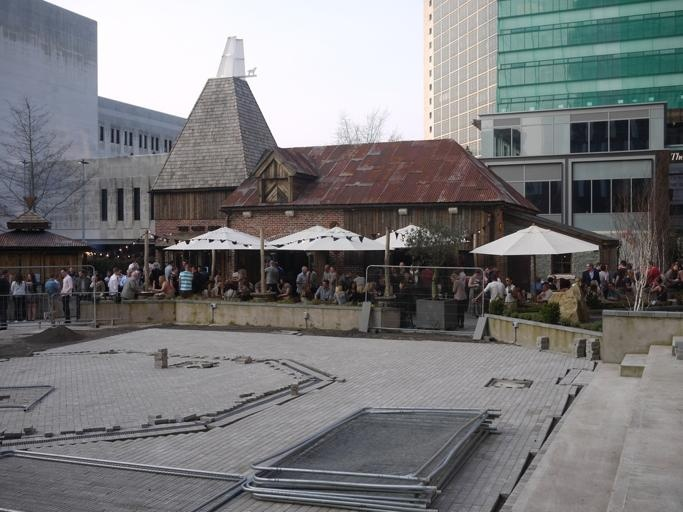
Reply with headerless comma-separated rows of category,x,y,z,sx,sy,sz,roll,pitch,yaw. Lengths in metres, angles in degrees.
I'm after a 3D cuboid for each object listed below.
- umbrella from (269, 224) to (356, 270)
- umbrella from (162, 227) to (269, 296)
umbrella,-1.052,-0.435,35.861,2.229,1.769,2.211,2,0,-43
umbrella,-5.340,-0.100,38.556,3.538,3.130,3.489,3,1,-10
